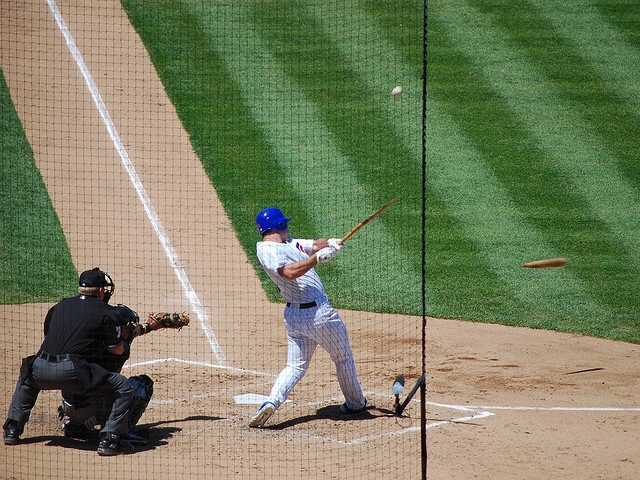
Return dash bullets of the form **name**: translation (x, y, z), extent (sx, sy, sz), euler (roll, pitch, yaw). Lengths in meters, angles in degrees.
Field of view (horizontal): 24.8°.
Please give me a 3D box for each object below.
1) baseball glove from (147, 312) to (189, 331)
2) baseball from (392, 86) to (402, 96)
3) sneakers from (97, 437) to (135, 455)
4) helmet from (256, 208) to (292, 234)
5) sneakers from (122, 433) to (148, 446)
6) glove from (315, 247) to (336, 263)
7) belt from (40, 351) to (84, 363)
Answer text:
- **baseball glove**: translation (-2.343, 1.311, 22.707), extent (0.551, 0.209, 0.300), euler (1, 18, -4)
- **baseball**: translation (1.575, -3.075, 30.030), extent (0.213, 0.158, 0.153), euler (-25, -10, -20)
- **sneakers**: translation (-3.069, 3.152, 21.898), extent (0.547, 0.238, 0.226), euler (-3, 8, -25)
- **helmet**: translation (-0.719, -0.307, 22.828), extent (0.539, 0.302, 0.344), euler (-11, 7, -12)
- **sneakers**: translation (-2.783, 3.059, 22.118), extent (0.316, 0.104, 0.166), euler (7, -7, 1)
- **glove**: translation (0.089, 0.228, 22.363), extent (0.300, 0.221, 0.366), euler (1, -2, 7)
- **belt**: translation (-3.856, 1.774, 21.798), extent (0.655, 0.145, 0.090), euler (0, -1, 9)
